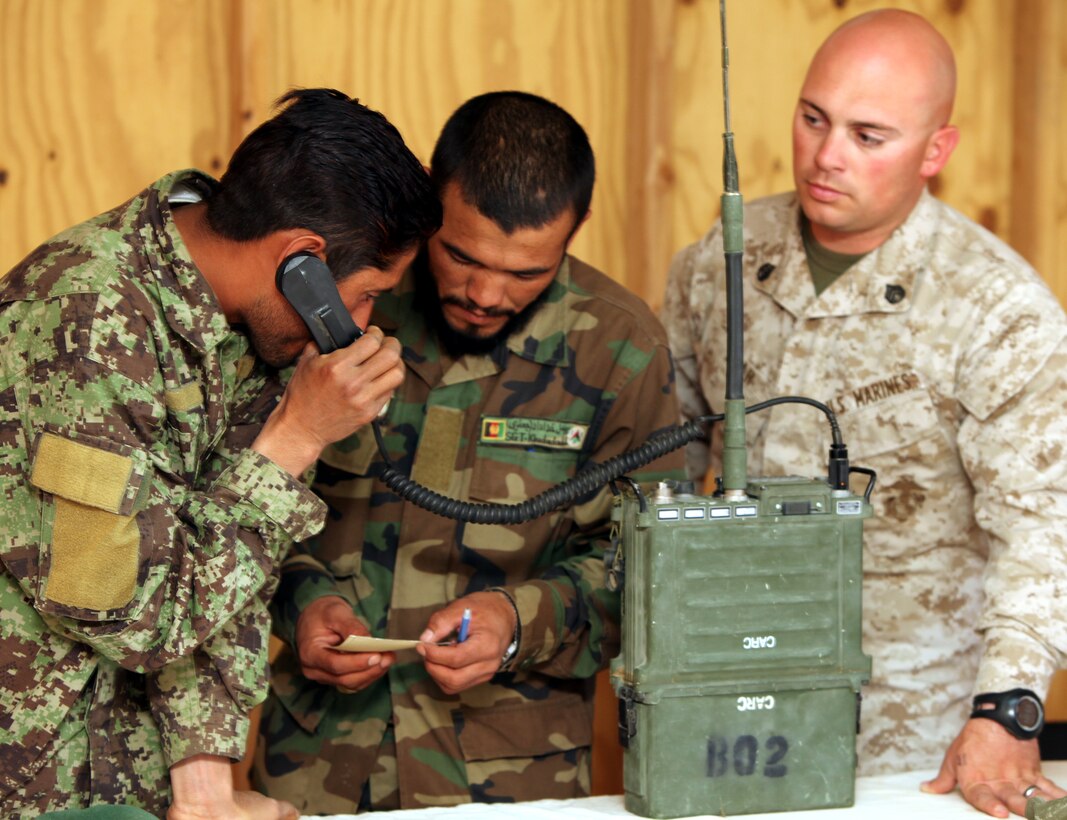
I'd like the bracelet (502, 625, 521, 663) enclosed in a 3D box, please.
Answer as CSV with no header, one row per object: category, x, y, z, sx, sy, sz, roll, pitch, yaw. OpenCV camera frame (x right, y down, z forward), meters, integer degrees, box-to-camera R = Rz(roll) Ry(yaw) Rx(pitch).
bracelet,-0.045,0.494,2.838,0.026,0.066,0.050,27,-8,-18
